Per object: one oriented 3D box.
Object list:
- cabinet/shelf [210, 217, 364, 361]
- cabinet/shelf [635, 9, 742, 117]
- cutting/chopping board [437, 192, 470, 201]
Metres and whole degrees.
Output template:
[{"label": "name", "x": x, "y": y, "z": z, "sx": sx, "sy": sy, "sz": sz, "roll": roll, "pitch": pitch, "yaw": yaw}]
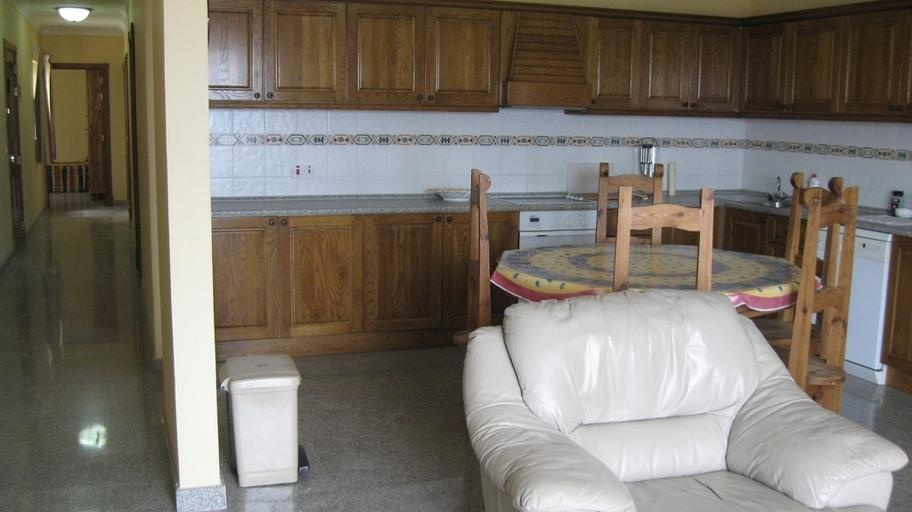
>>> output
[{"label": "cabinet/shelf", "x": -1.558, "y": 0.251, "z": 5.489, "sx": 1.518, "sy": 1.091, "sz": 0.528, "roll": -1, "pitch": 5, "yaw": -14}, {"label": "cabinet/shelf", "x": 2.464, "y": -2.060, "z": 6.602, "sx": 1.388, "sy": 0.954, "sz": 0.440, "roll": -1, "pitch": 7, "yaw": -14}, {"label": "cutting/chopping board", "x": -0.040, "y": -0.596, "z": 6.140, "sx": 0.314, "sy": 0.100, "sz": 0.114, "roll": 2, "pitch": 12, "yaw": 17}]
